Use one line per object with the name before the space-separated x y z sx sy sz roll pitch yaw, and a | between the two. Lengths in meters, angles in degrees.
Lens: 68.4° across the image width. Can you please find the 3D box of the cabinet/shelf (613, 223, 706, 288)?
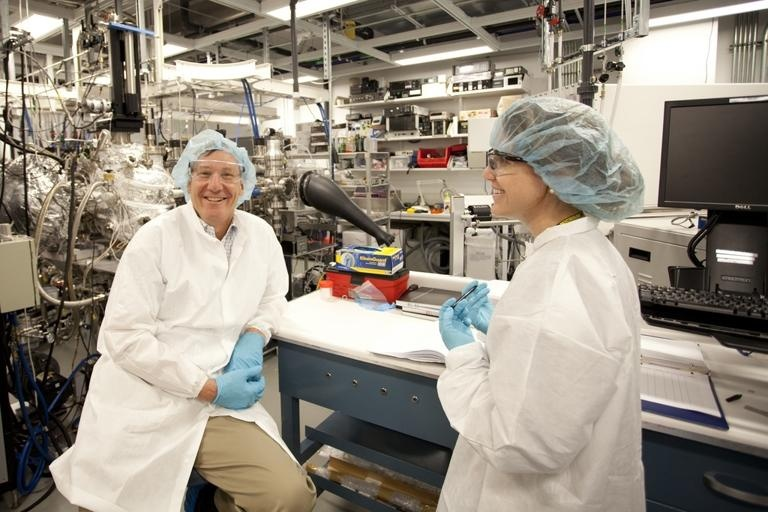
cabinet/shelf | 1.419 -0.038 2.951 0.264 0.403 0.395 -7 14 -22

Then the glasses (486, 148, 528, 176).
glasses | 0.447 -0.331 2.084 0.104 0.044 0.103 5 6 -22

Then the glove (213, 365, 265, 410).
glove | -0.629 0.591 2.513 0.148 0.214 0.213 -9 -19 30

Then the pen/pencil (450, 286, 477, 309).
pen/pencil | 0.354 0.185 2.510 0.118 0.017 0.017 -39 56 0

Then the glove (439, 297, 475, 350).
glove | 0.304 0.281 2.331 0.115 0.094 0.191 -3 25 -15
